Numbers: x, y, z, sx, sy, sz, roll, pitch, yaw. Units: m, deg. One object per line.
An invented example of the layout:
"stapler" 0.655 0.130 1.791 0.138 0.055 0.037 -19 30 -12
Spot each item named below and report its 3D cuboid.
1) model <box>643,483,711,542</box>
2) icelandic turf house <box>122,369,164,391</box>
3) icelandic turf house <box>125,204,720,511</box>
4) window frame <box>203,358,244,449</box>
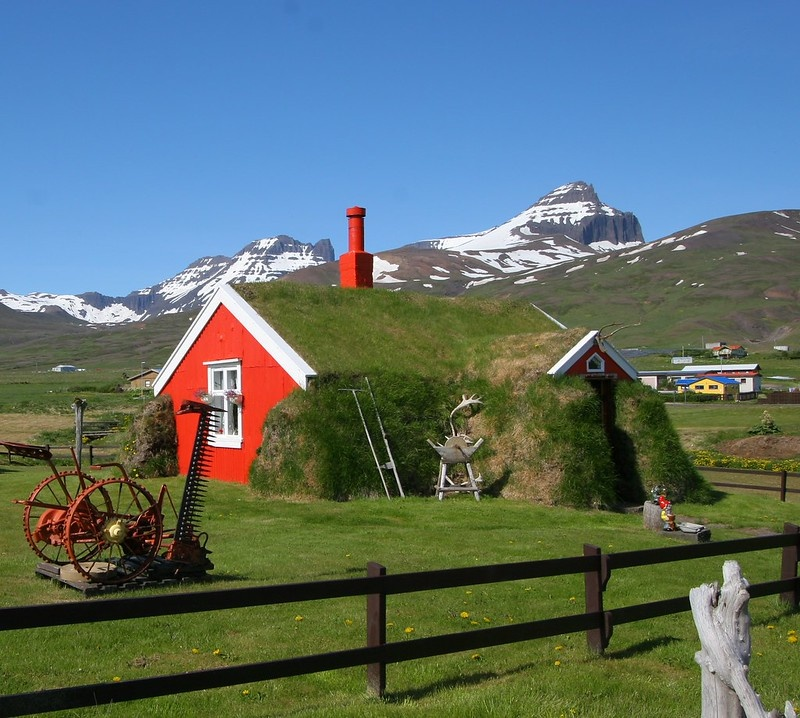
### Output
"model" 5.948 3.339 18.911 0.684 1.168 1.696 2 -1 -35
"icelandic turf house" -32.642 2.693 112.457 3.763 2.027 4.244 1 -3 -29
"icelandic turf house" 0.723 0.764 24.703 10.810 6.086 10.290 -2 -1 -32
"window frame" -4.579 1.224 23.565 0.292 2.867 2.260 6 -9 -38
